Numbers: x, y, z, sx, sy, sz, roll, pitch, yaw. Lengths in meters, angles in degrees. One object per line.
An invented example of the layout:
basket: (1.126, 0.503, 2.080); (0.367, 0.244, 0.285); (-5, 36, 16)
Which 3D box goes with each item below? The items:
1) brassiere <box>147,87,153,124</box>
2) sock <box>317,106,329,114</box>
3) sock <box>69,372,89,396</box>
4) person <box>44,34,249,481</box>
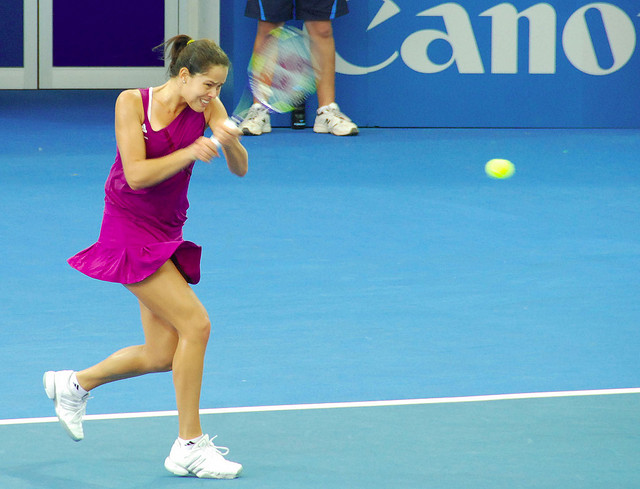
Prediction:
brassiere: (-0.575, -0.476, 2.631); (0.016, 0.109, 0.039); (0, 8, -11)
sock: (0.047, -1.500, 8.575); (0.085, 0.030, 0.068); (-35, 17, 13)
sock: (-0.866, 0.505, 2.769); (0.064, 0.078, 0.040); (6, 8, 30)
person: (-0.566, 0.017, 2.620); (0.699, 1.482, 0.560); (-1, 8, -18)
